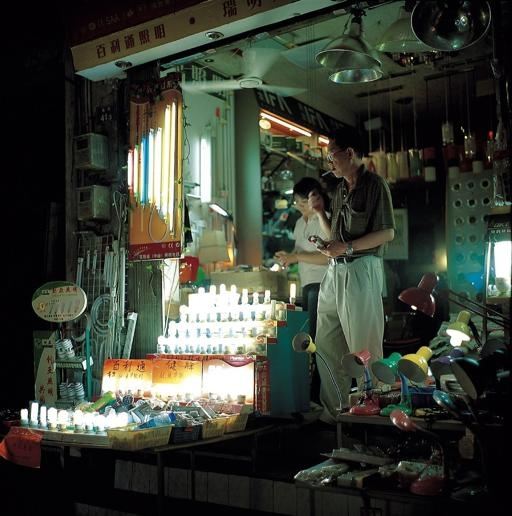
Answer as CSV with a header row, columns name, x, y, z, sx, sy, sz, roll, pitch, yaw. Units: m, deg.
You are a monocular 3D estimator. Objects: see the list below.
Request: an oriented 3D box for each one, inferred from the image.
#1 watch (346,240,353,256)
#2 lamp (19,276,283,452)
name,x,y,z,sx,sy,sz,roll,pitch,yaw
watch,0.653,-0.073,3.828,0.051,0.086,0.086,-1,-14,5
lamp,-0.615,0.908,3.689,1.413,1.021,1.130,-3,-7,35
